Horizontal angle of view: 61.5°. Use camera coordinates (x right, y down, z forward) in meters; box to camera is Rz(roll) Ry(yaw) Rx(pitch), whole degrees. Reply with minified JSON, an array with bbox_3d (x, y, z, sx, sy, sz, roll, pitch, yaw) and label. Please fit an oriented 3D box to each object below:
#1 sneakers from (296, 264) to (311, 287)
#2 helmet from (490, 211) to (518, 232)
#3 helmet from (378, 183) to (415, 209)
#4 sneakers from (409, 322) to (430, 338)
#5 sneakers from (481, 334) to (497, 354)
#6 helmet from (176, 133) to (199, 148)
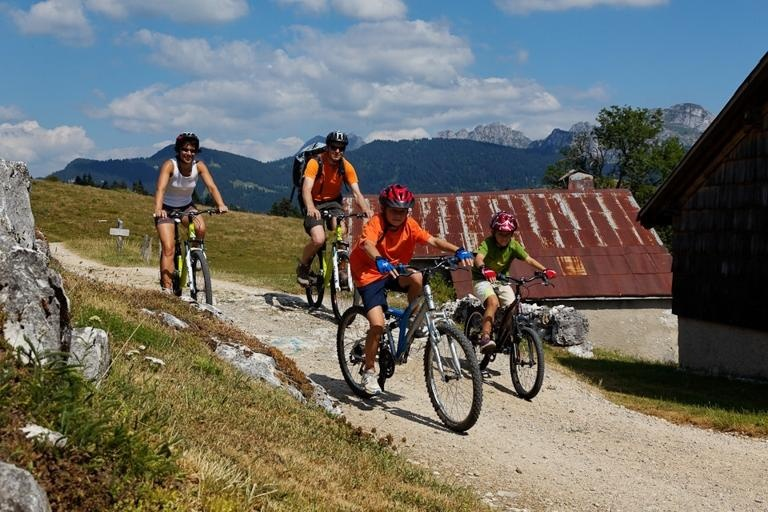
[{"bbox_3d":[-1.851,0.453,14.877,0.270,0.525,0.222,-1,30,-9],"label":"sneakers"},{"bbox_3d":[2.230,-0.597,12.097,0.323,0.366,0.468,1,-29,-9],"label":"helmet"},{"bbox_3d":[0.196,-0.899,9.711,0.486,0.360,0.445,5,7,-3],"label":"helmet"},{"bbox_3d":[0.519,1.102,9.703,0.163,0.138,0.257,13,-26,-30],"label":"sneakers"},{"bbox_3d":[1.898,1.595,11.753,0.155,0.198,0.408,2,-23,-12],"label":"sneakers"},{"bbox_3d":[-3.682,-2.147,12.091,0.427,0.269,0.354,3,7,-22],"label":"helmet"}]
